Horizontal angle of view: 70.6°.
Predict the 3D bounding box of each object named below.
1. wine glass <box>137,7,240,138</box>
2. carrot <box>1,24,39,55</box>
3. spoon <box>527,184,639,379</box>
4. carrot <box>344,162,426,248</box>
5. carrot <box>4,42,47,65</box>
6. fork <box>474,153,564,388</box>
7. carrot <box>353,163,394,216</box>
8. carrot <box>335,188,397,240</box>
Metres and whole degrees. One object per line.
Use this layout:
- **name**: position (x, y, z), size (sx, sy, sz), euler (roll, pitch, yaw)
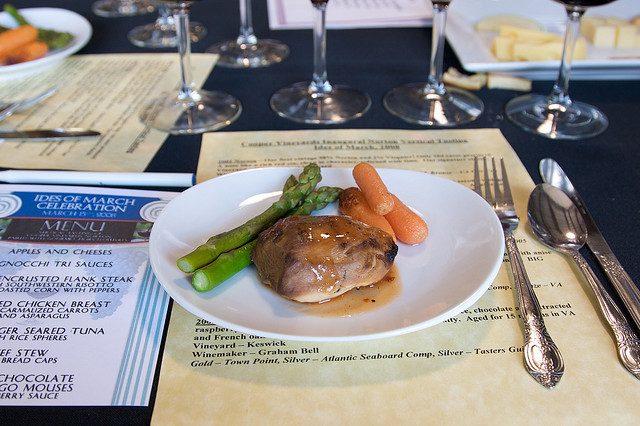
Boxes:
- **wine glass**: position (-0.327, -0.466, 1.469), size (0.376, 0.391, 0.371), euler (3, 32, 4)
- **carrot**: position (-1.056, -0.648, 1.673), size (0.060, 0.060, 0.202), euler (31, 42, 10)
- **spoon**: position (0.575, 0.134, 1.001), size (0.083, 0.049, 0.433), euler (-7, 45, -5)
- **carrot**: position (0.133, -0.035, 1.090), size (0.079, 0.082, 0.296), euler (-44, 42, -3)
- **carrot**: position (-1.054, -0.578, 1.630), size (0.133, 0.044, 0.060), euler (-31, 67, -31)
- **fork**: position (0.414, 0.128, 0.953), size (0.080, 0.556, 0.061), euler (-14, 21, 21)
- **carrot**: position (0.122, -0.058, 1.048), size (0.051, 0.046, 0.153), euler (-7, 35, -17)
- **carrot**: position (0.106, -0.026, 1.072), size (0.166, 0.049, 0.064), euler (6, 39, 33)
